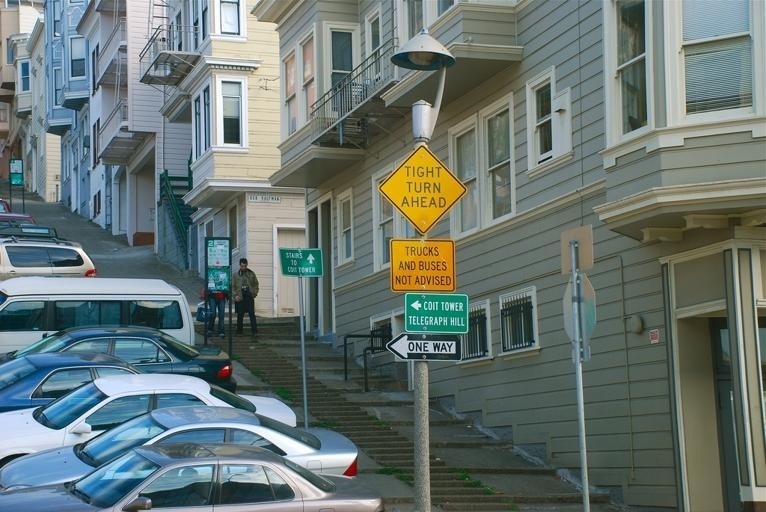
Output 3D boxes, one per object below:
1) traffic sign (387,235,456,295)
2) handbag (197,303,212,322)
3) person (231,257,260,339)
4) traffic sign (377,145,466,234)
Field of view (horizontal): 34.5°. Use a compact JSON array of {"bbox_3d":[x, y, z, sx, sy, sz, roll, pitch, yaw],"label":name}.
[{"bbox_3d":[0.680,0.156,20.253,1.191,0.891,0.126,1,6,26],"label":"traffic sign"},{"bbox_3d":[-4.718,1.507,32.838,0.503,0.638,0.209,4,18,1],"label":"handbag"},{"bbox_3d":[-3.829,1.120,34.411,0.698,2.193,1.172,2,-7,-6],"label":"person"},{"bbox_3d":[0.651,-1.079,20.410,1.656,1.479,0.141,-1,1,-29],"label":"traffic sign"}]
